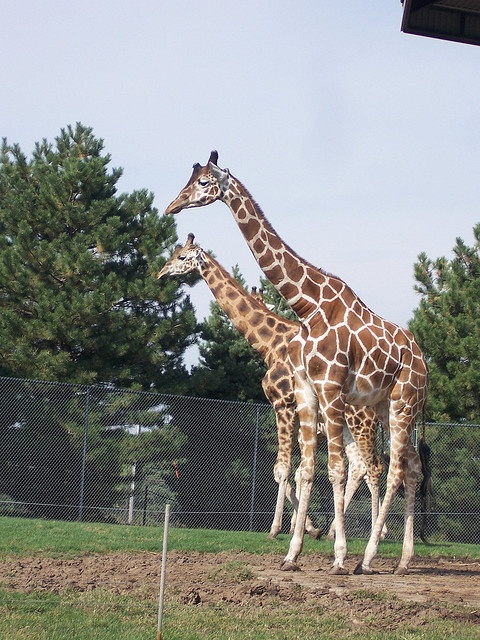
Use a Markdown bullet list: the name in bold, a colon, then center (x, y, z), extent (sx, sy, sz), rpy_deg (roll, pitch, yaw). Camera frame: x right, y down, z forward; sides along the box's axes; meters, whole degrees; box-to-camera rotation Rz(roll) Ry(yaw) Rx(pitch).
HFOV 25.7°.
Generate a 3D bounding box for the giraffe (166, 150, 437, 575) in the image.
- **giraffe**: center (0.729, 0.438, 11.159), extent (2.330, 4.328, 0.959), rpy_deg (1, -14, 13)
